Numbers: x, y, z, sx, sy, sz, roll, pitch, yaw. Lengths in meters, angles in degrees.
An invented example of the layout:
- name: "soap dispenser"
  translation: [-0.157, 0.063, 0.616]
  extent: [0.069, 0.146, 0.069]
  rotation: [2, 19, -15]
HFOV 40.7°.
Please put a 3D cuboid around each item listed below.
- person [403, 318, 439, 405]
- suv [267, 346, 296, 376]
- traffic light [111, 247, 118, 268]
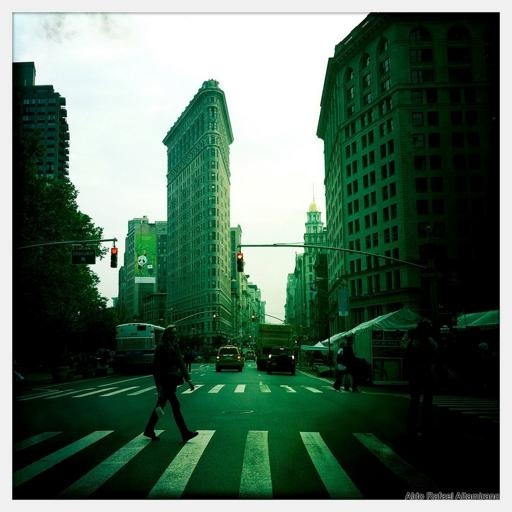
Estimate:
- name: "person"
  translation: [3.341, 2.125, 13.831]
  extent: [0.614, 1.626, 0.523]
  rotation: [-3, -8, 15]
- name: "suv"
  translation: [1.541, 6.469, 42.454]
  extent: [1.587, 1.850, 3.243]
  rotation: [1, -7, 4]
- name: "traffic light"
  translation: [-6.148, 0.001, 29.866]
  extent: [0.253, 0.917, 0.612]
  rotation: [1, -8, -15]
